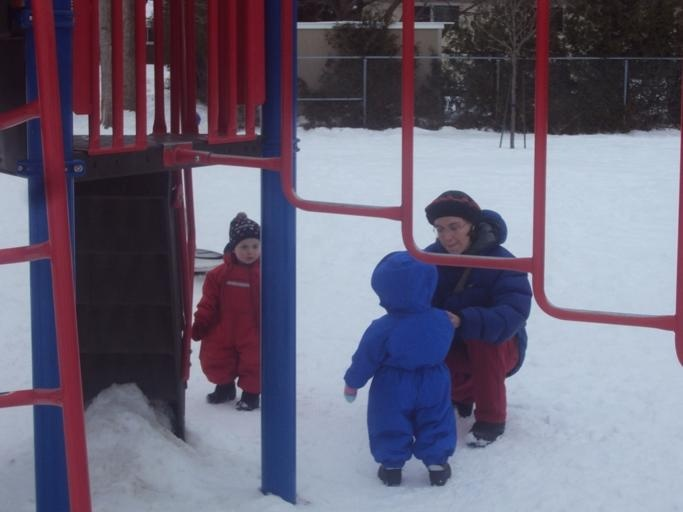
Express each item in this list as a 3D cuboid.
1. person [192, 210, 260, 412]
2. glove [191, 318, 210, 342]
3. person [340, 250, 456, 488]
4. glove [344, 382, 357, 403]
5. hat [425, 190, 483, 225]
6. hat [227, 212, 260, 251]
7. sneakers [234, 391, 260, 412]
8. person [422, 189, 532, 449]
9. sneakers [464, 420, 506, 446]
[{"bbox_3d":[-0.511,0.266,4.185,0.314,0.787,0.362,2,14,8],"label":"person"},{"bbox_3d":[-0.643,0.337,4.102,0.063,0.095,0.087,2,-5,3],"label":"glove"},{"bbox_3d":[0.231,0.446,3.565,0.435,0.843,0.300,0,13,-1],"label":"person"},{"bbox_3d":[0.035,0.555,3.643,0.042,0.087,0.077,0,-7,2],"label":"glove"},{"bbox_3d":[0.497,-0.209,4.050,0.193,0.180,0.262,2,-8,8],"label":"hat"},{"bbox_3d":[-0.470,-0.119,4.262,0.165,0.175,0.130,-6,-15,19],"label":"hat"},{"bbox_3d":[-0.433,0.664,4.095,0.101,0.087,0.067,4,-2,2],"label":"sneakers"},{"bbox_3d":[0.545,0.269,4.062,0.577,1.116,0.561,4,8,40],"label":"person"},{"bbox_3d":[0.606,0.752,3.849,0.141,0.175,0.085,2,-1,-11],"label":"sneakers"}]
